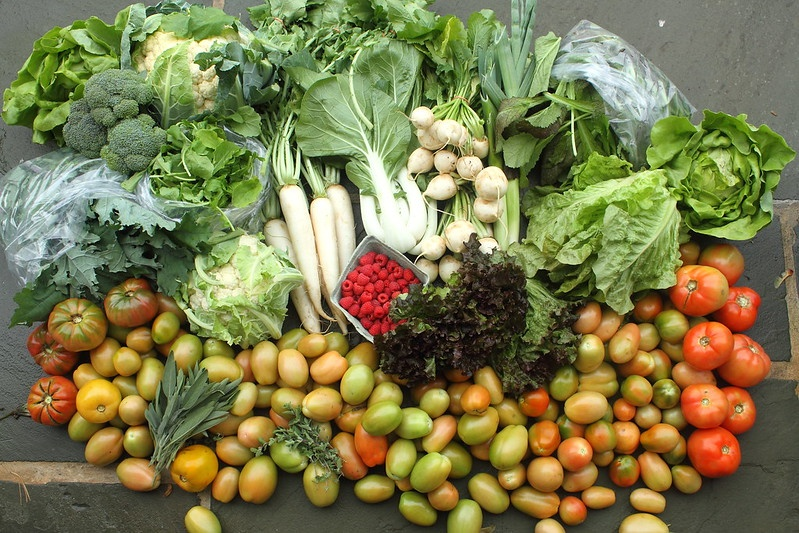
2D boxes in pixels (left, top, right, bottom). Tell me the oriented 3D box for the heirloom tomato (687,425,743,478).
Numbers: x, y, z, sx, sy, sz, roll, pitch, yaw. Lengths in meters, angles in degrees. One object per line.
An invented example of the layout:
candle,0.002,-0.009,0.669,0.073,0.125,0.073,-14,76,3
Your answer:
heirloom tomato,1.717,1.027,4.069,0.287,0.289,0.309,-7,3,4

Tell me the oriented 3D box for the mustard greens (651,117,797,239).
mustard greens,1.663,-0.490,3.935,0.720,0.538,0.362,14,40,15

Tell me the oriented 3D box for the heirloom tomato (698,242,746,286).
heirloom tomato,1.768,-0.033,4.048,0.221,0.232,0.233,7,12,-31
